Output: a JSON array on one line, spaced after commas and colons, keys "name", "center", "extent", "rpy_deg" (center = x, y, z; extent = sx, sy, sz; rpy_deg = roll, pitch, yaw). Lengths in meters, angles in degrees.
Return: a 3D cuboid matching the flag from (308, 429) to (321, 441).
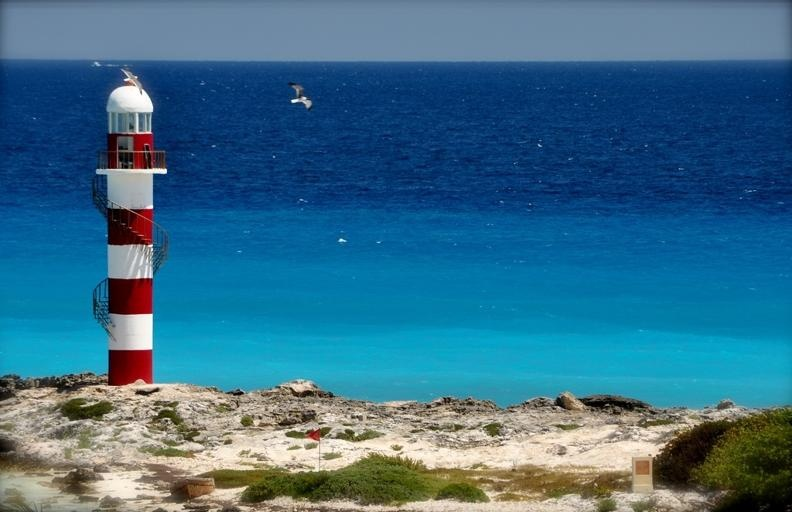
[{"name": "flag", "center": [-7.459, 16.747, 146.013], "extent": [1.099, 1.197, 0.773], "rpy_deg": [35, 49, 25]}]
